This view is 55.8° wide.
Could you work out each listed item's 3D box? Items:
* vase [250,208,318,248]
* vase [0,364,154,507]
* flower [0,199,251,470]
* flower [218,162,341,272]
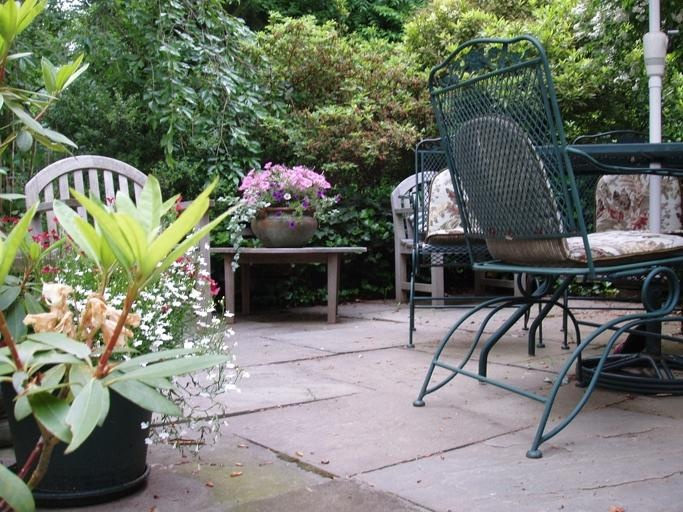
[{"bbox_3d":[-0.406,-0.195,4.693,0.510,0.277,0.516,-5,0,32],"label":"vase"},{"bbox_3d":[-0.702,0.469,1.763,0.364,0.275,0.377,1,-9,-9],"label":"vase"},{"bbox_3d":[-0.434,0.147,1.209,0.383,0.578,0.543,-2,5,-20],"label":"flower"},{"bbox_3d":[-0.443,-0.264,4.654,0.698,0.569,0.822,0,-2,25],"label":"flower"}]
